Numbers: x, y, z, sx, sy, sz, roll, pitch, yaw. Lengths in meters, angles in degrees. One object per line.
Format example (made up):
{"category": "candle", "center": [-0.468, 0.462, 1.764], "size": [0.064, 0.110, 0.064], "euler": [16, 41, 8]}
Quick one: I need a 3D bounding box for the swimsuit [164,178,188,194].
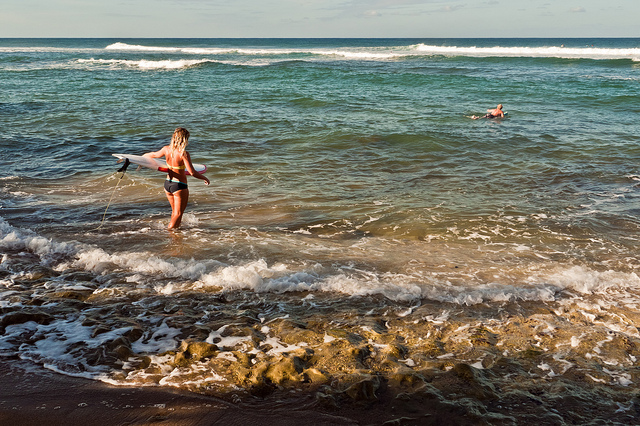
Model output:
{"category": "swimsuit", "center": [-3.042, -0.576, 11.353], "size": [0.686, 0.186, 0.343], "euler": [8, 19, 13]}

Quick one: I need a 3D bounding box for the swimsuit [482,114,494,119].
{"category": "swimsuit", "center": [6.747, -3.872, 21.704], "size": [0.177, 0.129, 0.445], "euler": [0, -4, 33]}

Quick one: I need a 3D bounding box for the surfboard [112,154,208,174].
{"category": "surfboard", "center": [-3.293, -0.971, 11.945], "size": [2.112, 0.374, 0.608], "euler": [1, 31, -35]}

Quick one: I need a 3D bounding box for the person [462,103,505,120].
{"category": "person", "center": [6.599, -4.066, 21.730], "size": [1.631, 0.528, 1.082], "euler": [3, 21, 9]}
